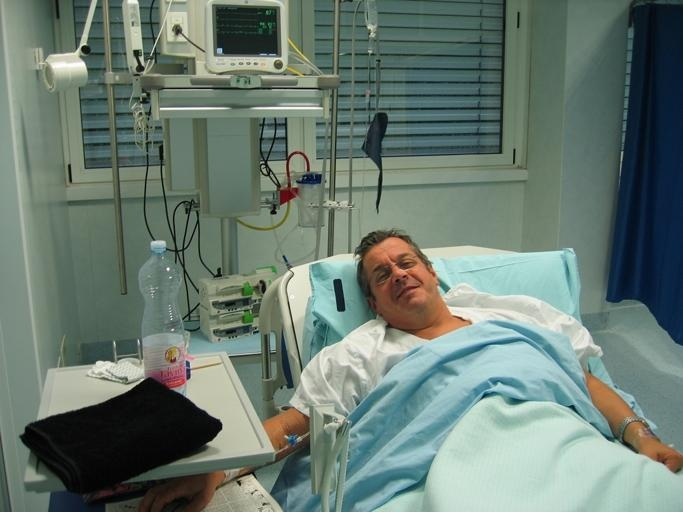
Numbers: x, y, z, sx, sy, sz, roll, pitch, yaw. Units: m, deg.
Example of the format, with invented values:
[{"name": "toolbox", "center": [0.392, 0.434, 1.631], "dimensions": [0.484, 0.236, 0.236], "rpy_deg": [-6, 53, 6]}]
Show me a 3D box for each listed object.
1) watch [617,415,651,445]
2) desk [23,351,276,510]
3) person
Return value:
[{"name": "watch", "center": [0.993, 0.581, 2.132], "dimensions": [0.084, 0.106, 0.040], "rpy_deg": [1, 7, -5]}, {"name": "desk", "center": [-0.497, 0.418, 1.648], "dimensions": [0.563, 0.195, 0.491], "rpy_deg": [-7, 10, -16]}, {"name": "person", "center": [0.296, 0.378, 2.471], "dimensions": [0.948, 0.614, 1.432], "rpy_deg": [-4, 17, -2]}]
